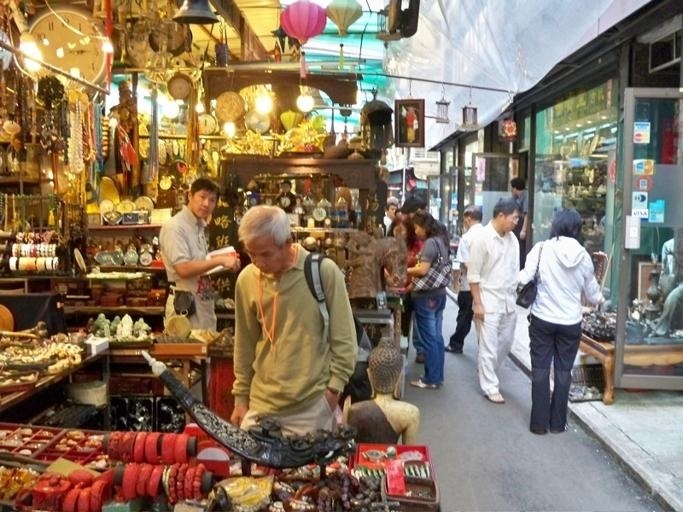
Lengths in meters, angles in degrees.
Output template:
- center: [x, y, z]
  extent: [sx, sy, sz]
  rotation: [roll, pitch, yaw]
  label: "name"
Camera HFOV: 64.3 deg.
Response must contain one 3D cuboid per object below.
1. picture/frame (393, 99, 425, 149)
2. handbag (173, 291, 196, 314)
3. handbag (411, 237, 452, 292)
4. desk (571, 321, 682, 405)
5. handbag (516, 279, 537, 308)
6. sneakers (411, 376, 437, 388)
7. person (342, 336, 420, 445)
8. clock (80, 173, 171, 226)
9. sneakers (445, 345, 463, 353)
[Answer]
- center: [1.199, -2.385, 9.708]
  extent: [0.509, 0.846, 0.339]
  rotation: [-2, 7, 3]
  label: "picture/frame"
- center: [-1.393, 0.408, 4.790]
  extent: [0.167, 0.242, 0.115]
  rotation: [0, 10, -11]
  label: "handbag"
- center: [1.065, 0.220, 6.559]
  extent: [0.456, 0.927, 0.730]
  rotation: [-4, -16, 17]
  label: "handbag"
- center: [3.012, 1.113, 5.749]
  extent: [1.052, 0.598, 0.816]
  rotation: [-1, -1, -10]
  label: "desk"
- center: [1.796, 0.365, 5.273]
  extent: [0.118, 0.264, 0.262]
  rotation: [22, -8, 29]
  label: "handbag"
- center: [0.976, 1.514, 6.461]
  extent: [0.294, 0.141, 0.114]
  rotation: [9, 6, 17]
  label: "sneakers"
- center: [0.225, 0.904, 3.117]
  extent: [0.402, 0.898, 0.241]
  rotation: [2, 10, -12]
  label: "person"
- center: [-3.106, -0.669, 7.816]
  extent: [0.910, 0.646, 0.981]
  rotation: [-1, 3, -3]
  label: "clock"
- center: [1.631, 1.372, 7.968]
  extent: [0.259, 0.128, 0.105]
  rotation: [-2, -2, 43]
  label: "sneakers"
